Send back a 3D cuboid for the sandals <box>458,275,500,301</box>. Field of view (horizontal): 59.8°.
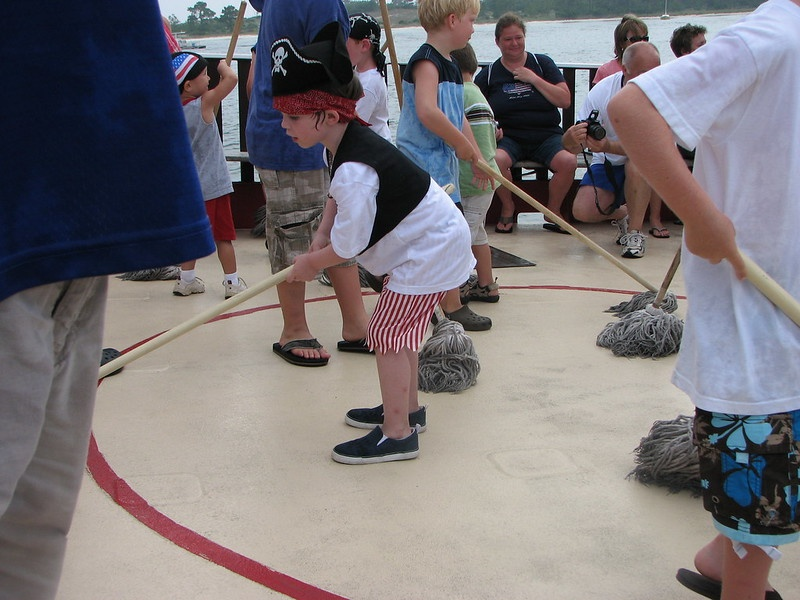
[{"bbox_3d":[0.465,-0.073,4.280,0.276,0.113,0.109,7,15,29],"label":"sandals"}]

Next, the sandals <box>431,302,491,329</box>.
[{"bbox_3d":[0.349,0.079,3.782,0.269,0.101,0.112,4,24,7],"label":"sandals"}]

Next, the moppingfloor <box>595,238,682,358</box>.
[{"bbox_3d":[1.261,-0.019,3.404,0.297,0.591,0.297,27,45,13],"label":"moppingfloor"}]

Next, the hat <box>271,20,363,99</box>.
[{"bbox_3d":[-0.285,-0.839,2.416,0.326,0.248,0.223,-1,16,-5],"label":"hat"}]

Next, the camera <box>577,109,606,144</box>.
[{"bbox_3d":[1.442,-1.276,5.082,0.222,0.203,0.214,-17,25,-26],"label":"camera"}]

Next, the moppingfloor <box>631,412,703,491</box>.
[{"bbox_3d":[0.955,0.486,2.391,0.280,0.126,0.294,-6,19,22],"label":"moppingfloor"}]

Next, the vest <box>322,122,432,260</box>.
[{"bbox_3d":[-0.061,-0.411,2.516,0.345,0.464,0.228,-3,25,2],"label":"vest"}]

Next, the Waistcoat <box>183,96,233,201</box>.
[{"bbox_3d":[-1.368,-0.973,4.610,0.236,0.629,0.293,-21,18,3],"label":"Waistcoat"}]

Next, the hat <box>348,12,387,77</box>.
[{"bbox_3d":[-0.193,-1.435,3.881,0.277,0.338,0.182,-4,42,-19],"label":"hat"}]

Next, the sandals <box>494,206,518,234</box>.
[{"bbox_3d":[1.012,-0.754,6.583,0.124,0.119,0.338,4,19,13],"label":"sandals"}]

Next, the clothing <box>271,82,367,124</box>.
[{"bbox_3d":[-0.294,-0.687,2.481,0.229,0.111,0.170,-5,10,-2],"label":"clothing"}]

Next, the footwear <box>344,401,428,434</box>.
[{"bbox_3d":[-0.049,0.453,2.767,0.313,0.113,0.118,3,7,-2],"label":"footwear"}]

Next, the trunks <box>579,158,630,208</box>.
[{"bbox_3d":[1.744,-1.000,5.848,0.319,0.393,0.171,9,19,21],"label":"trunks"}]

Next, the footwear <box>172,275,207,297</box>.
[{"bbox_3d":[-1.349,-0.092,4.540,0.091,0.095,0.235,8,14,32],"label":"footwear"}]

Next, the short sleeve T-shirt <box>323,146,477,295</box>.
[{"bbox_3d":[0.000,-0.279,2.651,0.649,0.527,0.494,0,3,20],"label":"short sleeve T-shirt"}]

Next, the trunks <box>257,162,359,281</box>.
[{"bbox_3d":[-0.499,-0.426,3.783,0.501,0.764,0.587,-2,8,-15],"label":"trunks"}]

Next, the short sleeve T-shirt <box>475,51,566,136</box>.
[{"bbox_3d":[1.146,-1.926,6.612,0.919,0.844,0.495,-7,24,10],"label":"short sleeve T-shirt"}]

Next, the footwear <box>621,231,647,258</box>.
[{"bbox_3d":[1.854,-0.458,5.541,0.161,0.125,0.304,3,16,20],"label":"footwear"}]

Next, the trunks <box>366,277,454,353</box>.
[{"bbox_3d":[0.059,0.063,2.726,0.282,0.348,0.186,26,-9,-3],"label":"trunks"}]

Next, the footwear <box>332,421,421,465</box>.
[{"bbox_3d":[-0.083,0.513,2.510,0.315,0.115,0.119,-1,5,-9],"label":"footwear"}]
